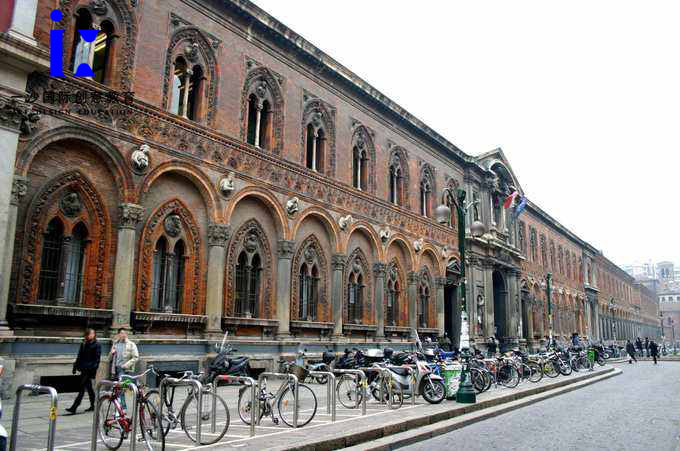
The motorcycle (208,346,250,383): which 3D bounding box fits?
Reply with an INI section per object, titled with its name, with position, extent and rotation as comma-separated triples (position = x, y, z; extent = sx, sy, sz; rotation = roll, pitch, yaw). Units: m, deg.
[motorcycle]
position = -4.100, 5.183, 20.314
extent = 1.871, 1.192, 0.925
rotation = 10, -15, -40
